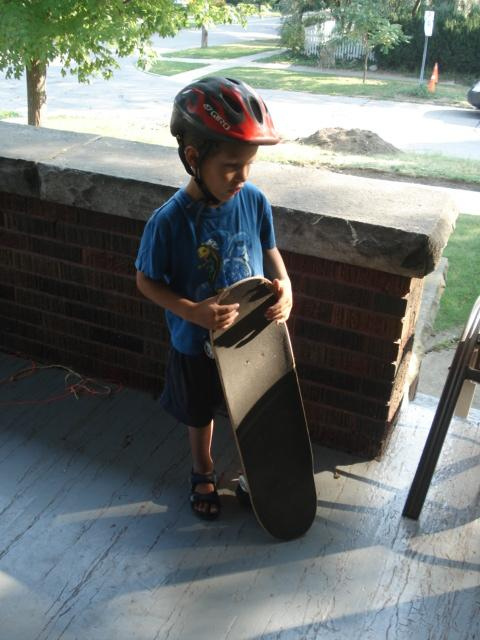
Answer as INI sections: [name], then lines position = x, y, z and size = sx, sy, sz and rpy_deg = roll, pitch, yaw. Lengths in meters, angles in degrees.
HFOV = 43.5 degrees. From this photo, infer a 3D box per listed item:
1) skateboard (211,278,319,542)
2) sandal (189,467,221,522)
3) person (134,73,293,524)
[skateboard]
position = 0.087, 0.278, 1.868
size = 0.300, 0.855, 0.147
rpy_deg = -14, 11, -29
[sandal]
position = -0.121, 0.588, 2.021
size = 0.072, 0.063, 0.182
rpy_deg = -1, 31, -3
[person]
position = -0.069, -0.019, 1.863
size = 0.441, 1.361, 0.486
rpy_deg = 17, 30, 23
